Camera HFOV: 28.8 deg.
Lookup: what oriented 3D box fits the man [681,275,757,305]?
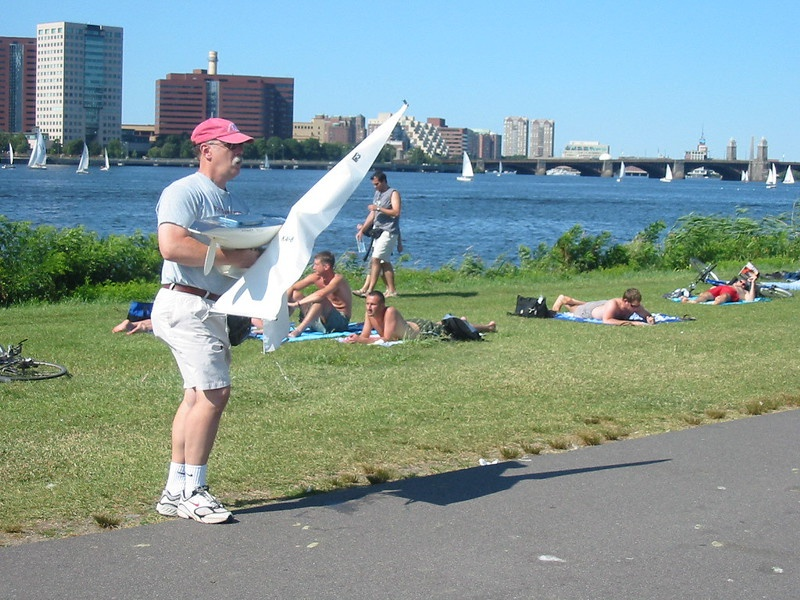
[{"bbox_3d":[5.346,-0.118,25.376,0.904,0.292,0.625,-3,4,-26],"label":"man"}]

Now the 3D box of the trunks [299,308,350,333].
[{"bbox_3d":[-1.022,0.268,21.402,0.488,0.206,0.392,-4,0,-17],"label":"trunks"}]

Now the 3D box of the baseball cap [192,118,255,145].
[{"bbox_3d":[-1.658,-1.575,14.466,0.467,0.162,0.289,1,10,1],"label":"baseball cap"}]

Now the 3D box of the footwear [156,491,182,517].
[{"bbox_3d":[-2.123,1.894,14.257,0.130,0.161,0.376,5,3,-11],"label":"footwear"}]

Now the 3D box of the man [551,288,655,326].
[{"bbox_3d":[2.959,0.096,23.123,0.630,0.397,1.402,-8,9,-39],"label":"man"}]

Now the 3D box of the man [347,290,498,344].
[{"bbox_3d":[0.213,0.228,21.215,2.318,0.649,0.605,-2,4,-39],"label":"man"}]

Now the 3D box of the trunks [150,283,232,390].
[{"bbox_3d":[-1.996,0.362,14.548,0.663,0.949,0.742,-3,2,-3],"label":"trunks"}]

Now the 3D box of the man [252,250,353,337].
[{"bbox_3d":[-1.341,-0.110,21.565,1.488,1.083,0.970,-2,12,-13],"label":"man"}]

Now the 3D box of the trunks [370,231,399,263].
[{"bbox_3d":[-0.250,-0.891,25.467,0.316,0.515,0.623,7,8,41],"label":"trunks"}]

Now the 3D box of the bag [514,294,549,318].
[{"bbox_3d":[2.038,0.116,23.428,0.606,0.360,0.308,-1,-2,36],"label":"bag"}]

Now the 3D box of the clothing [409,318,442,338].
[{"bbox_3d":[0.367,0.373,20.798,0.364,0.124,0.220,1,7,21],"label":"clothing"}]

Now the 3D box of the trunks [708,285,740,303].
[{"bbox_3d":[5.337,-0.139,25.309,0.336,0.141,0.321,11,10,40],"label":"trunks"}]

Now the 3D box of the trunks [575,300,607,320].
[{"bbox_3d":[2.886,0.125,23.153,0.370,0.111,0.284,-8,12,-23],"label":"trunks"}]
